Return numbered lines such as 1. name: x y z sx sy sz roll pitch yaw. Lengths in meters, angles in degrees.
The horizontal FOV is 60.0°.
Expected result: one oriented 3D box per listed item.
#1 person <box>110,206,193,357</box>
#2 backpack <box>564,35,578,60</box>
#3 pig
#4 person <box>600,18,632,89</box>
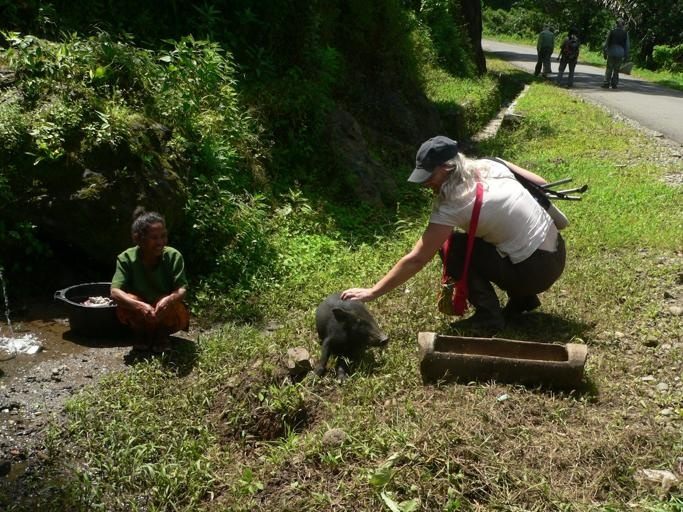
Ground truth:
1. person: -1.803 0.175 5.587 0.720 1.310 0.905 4 8 9
2. backpack: 6.792 -6.231 17.585 0.396 0.650 0.587 -9 25 -15
3. pig: 0.009 0.666 5.397 0.612 0.671 0.796 1 16 -17
4. person: 7.867 -5.857 17.028 0.718 2.127 1.093 2 3 32
